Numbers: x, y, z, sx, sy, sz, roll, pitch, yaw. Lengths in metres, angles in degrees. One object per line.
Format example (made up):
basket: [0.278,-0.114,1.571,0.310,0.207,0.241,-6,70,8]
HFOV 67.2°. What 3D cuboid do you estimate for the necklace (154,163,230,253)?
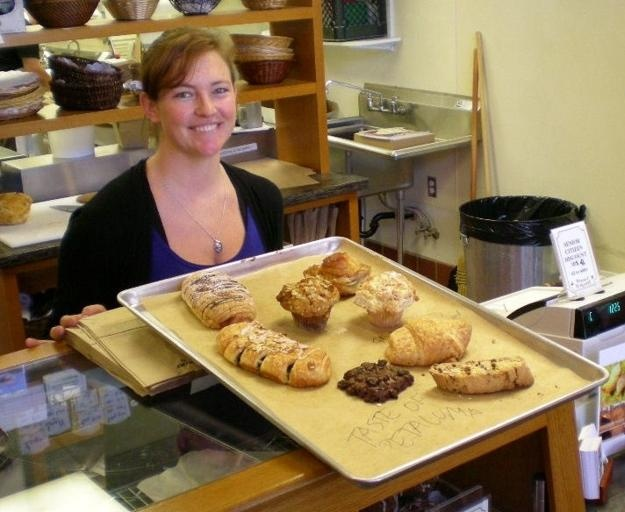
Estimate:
necklace: [-0.364,-0.138,1.492,0.246,0.229,0.063,-20,-10,-46]

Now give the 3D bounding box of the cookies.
cookies: [0.094,0.189,0.713,0.097,0.023,0.106,8,21,35]

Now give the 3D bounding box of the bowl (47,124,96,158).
bowl: [-1.424,-0.655,2.808,0.253,0.162,0.235,-1,5,0]

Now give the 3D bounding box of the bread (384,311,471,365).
bread: [0.192,0.135,0.798,0.119,0.041,0.077,-6,16,-8]

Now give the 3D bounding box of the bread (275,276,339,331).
bread: [-0.015,0.087,0.936,0.106,0.068,0.104,-13,17,-43]

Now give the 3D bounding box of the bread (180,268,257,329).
bread: [-0.185,0.084,0.933,0.101,0.049,0.179,-10,20,-32]

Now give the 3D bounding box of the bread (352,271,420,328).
bread: [0.144,0.073,0.922,0.115,0.071,0.105,-3,18,-4]

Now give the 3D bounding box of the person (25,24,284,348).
person: [-0.473,-0.257,1.449,0.801,0.834,0.379,-11,20,-17]

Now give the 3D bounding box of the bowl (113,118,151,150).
bowl: [-1.099,-0.771,3.013,0.233,0.199,0.189,5,23,7]

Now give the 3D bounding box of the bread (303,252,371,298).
bread: [0.055,0.031,1.041,0.126,0.056,0.100,9,19,42]
